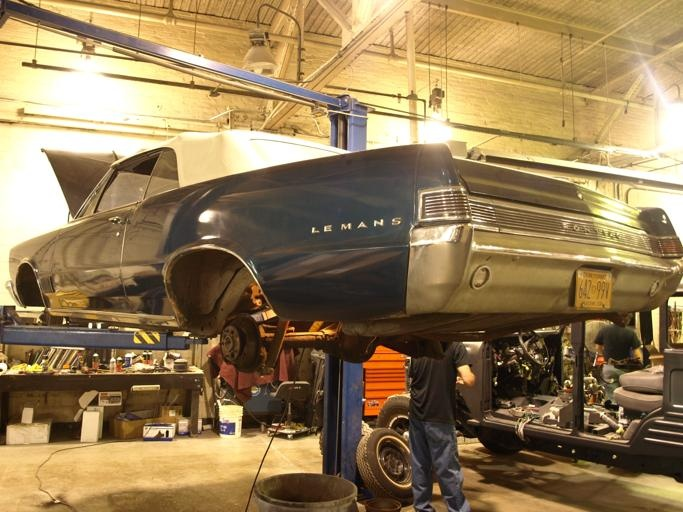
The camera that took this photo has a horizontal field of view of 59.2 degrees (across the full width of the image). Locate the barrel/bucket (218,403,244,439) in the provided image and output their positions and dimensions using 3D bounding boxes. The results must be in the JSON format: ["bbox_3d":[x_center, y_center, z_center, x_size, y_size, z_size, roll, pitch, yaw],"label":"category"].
[{"bbox_3d":[-1.608,2.461,8.948,0.468,0.412,0.439,1,-7,0],"label":"barrel/bucket"}]

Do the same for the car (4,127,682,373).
[{"bbox_3d":[-0.681,-0.165,4.916,4.591,1.179,2.105,4,-3,44],"label":"car"}]
